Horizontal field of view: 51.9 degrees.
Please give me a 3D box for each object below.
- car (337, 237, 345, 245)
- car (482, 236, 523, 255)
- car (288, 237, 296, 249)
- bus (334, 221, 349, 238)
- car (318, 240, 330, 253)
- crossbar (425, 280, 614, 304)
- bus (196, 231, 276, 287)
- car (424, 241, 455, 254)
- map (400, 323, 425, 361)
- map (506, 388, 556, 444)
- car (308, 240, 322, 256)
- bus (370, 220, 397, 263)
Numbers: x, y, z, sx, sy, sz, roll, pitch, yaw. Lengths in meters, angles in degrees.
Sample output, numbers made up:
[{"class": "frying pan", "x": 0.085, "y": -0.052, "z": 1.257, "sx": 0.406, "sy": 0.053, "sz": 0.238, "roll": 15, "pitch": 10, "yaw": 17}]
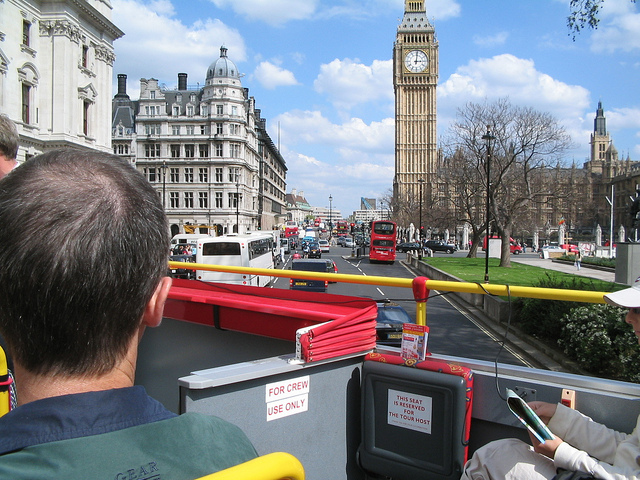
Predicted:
[{"class": "car", "x": 3.087, "y": -0.028, "z": 97.627, "sx": 0.958, "sy": 0.904, "sz": 1.541, "roll": 1, "pitch": 4, "yaw": 6}, {"class": "car", "x": 14.624, "y": 0.434, "z": 52.827, "sx": 3.497, "sy": 1.812, "sz": 1.967, "roll": -2, "pitch": 1, "yaw": 7}, {"class": "car", "x": -3.355, "y": 0.275, "z": 76.668, "sx": 1.179, "sy": 1.157, "sz": 2.641, "roll": 0, "pitch": -3, "yaw": -1}, {"class": "bus", "x": 3.350, "y": -1.668, "z": 100.041, "sx": 1.387, "sy": 2.341, "sz": 3.724, "roll": 2, "pitch": 4, "yaw": -1}, {"class": "car", "x": 0.341, "y": 0.618, "z": 66.097, "sx": 0.903, "sy": 0.762, "sz": 2.169, "roll": 1, "pitch": 10, "yaw": 3}, {"class": "crossbar", "x": 1.131, "y": 0.294, "z": 3.804, "sx": 1.036, "sy": 0.113, "sz": 0.342, "roll": 4, "pitch": 5, "yaw": 20}, {"class": "bus", "x": -3.479, "y": 0.798, "z": 30.315, "sx": 2.306, "sy": 2.781, "sz": 8.634, "roll": 0, "pitch": 3, "yaw": 4}, {"class": "car", "x": 13.699, "y": 0.893, "z": 74.117, "sx": 2.508, "sy": 1.202, "sz": 1.502, "roll": -3, "pitch": 7, "yaw": 15}, {"class": "map", "x": 0.565, "y": 0.618, "z": 3.976, "sx": 0.031, "sy": 0.256, "sz": 0.206, "roll": -2, "pitch": 1, "yaw": -39}, {"class": "map", "x": 1.062, "y": 0.922, "z": 3.436, "sx": 0.072, "sy": 0.305, "sz": 0.177, "roll": -39, "pitch": -2, "yaw": 40}, {"class": "car", "x": -0.416, "y": 0.647, "z": 55.135, "sx": 0.985, "sy": 0.922, "sz": 2.415, "roll": 1, "pitch": 9, "yaw": -1}, {"class": "bus", "x": 4.729, "y": 0.056, "z": 48.093, "sx": 2.019, "sy": 3.000, "sz": 1.644, "roll": 5, "pitch": 5, "yaw": 29}]
